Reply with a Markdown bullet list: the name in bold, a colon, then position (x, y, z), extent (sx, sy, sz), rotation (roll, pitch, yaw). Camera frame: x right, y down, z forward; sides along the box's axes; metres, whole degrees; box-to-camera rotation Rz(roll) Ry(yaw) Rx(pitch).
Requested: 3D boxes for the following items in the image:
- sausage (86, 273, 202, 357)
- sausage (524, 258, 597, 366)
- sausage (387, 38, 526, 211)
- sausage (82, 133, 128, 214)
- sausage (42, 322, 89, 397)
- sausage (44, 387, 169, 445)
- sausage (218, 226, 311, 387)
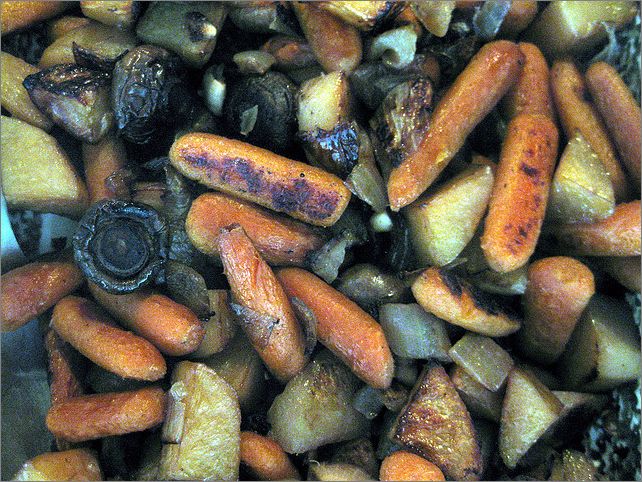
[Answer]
- **sausage**: position (-0.278, 0.104, 1.118), extent (0.204, 0.073, 0.074), rotation (31, 24, 17)
- **sausage**: position (0.342, 0.100, 1.088), extent (0.088, 0.139, 0.095), rotation (13, 51, 2)
- **sausage**: position (0.210, -0.196, 1.115), extent (0.075, 0.076, 0.308), rotation (35, 85, 39)
- **sausage**: position (-0.348, -0.106, 1.143), extent (0.052, 0.037, 0.123), rotation (-3, 87, -7)
- **sausage**: position (-0.374, 0.169, 1.078), extent (0.026, 0.085, 0.088), rotation (-4, 74, 14)
- **sausage**: position (-0.303, 0.247, 1.034), extent (0.147, 0.084, 0.050), rotation (-5, 55, -2)
- **sausage**: position (-0.085, 0.089, 1.091), extent (0.100, 0.078, 0.265), rotation (-37, 107, -56)
